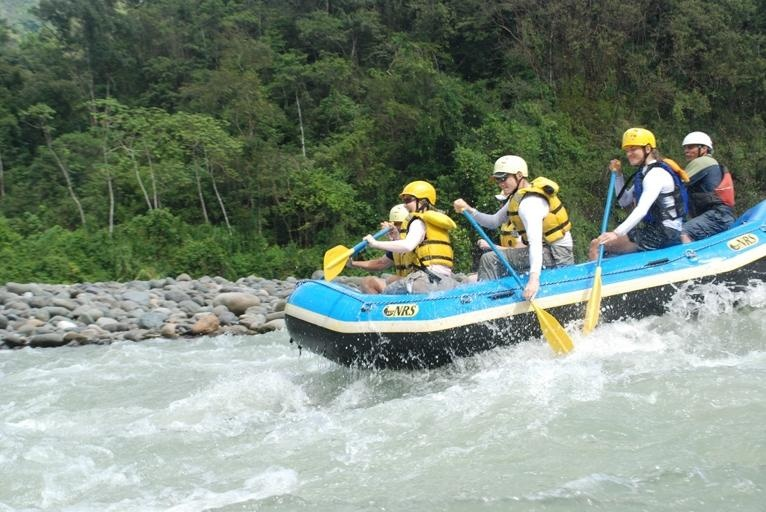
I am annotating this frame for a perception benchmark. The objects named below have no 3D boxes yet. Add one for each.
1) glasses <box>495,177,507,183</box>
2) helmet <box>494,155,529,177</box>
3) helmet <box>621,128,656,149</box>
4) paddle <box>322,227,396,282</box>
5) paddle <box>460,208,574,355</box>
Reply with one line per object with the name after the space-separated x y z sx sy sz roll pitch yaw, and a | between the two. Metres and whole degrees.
1.644 -1.034 9.718 0.087 0.084 0.028 -17 -10 36 | glasses
1.748 -1.224 9.734 0.482 0.213 0.303 1 -2 -14 | helmet
3.744 -1.744 10.176 0.550 0.278 0.412 2 -4 2 | helmet
-0.488 0.073 9.929 1.403 0.448 0.108 -33 -28 20 | paddle
1.860 0.414 9.521 0.381 2.562 0.206 -41 -5 13 | paddle
